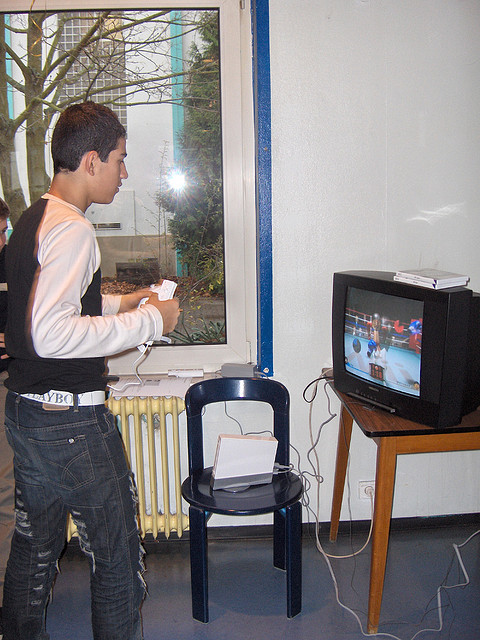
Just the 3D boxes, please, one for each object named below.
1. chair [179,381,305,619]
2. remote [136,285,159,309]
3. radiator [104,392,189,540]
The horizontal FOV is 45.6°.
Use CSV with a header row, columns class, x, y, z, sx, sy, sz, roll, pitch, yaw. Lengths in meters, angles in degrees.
class,x,y,z,sx,sy,sz,roll,pitch,yaw
chair,0.016,0.639,2.060,0.427,0.789,0.535,0,9,6
remote,-0.286,-0.085,1.829,0.032,0.073,0.084,12,51,6
radiator,-0.356,0.557,2.316,0.383,0.663,0.129,1,-1,-3
